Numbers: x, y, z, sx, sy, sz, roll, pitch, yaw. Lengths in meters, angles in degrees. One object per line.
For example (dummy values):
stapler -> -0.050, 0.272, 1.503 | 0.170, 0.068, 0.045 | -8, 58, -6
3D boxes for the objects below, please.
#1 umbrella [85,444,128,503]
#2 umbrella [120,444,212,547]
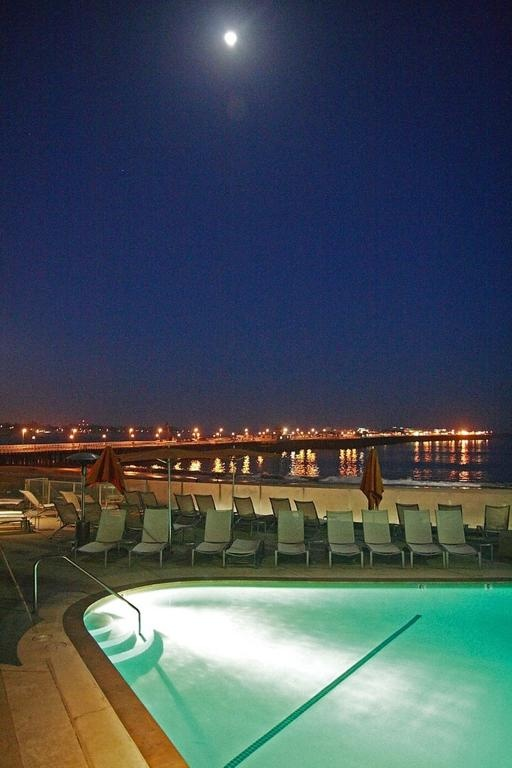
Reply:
umbrella -> -2.526, 1.448, 10.431 | 0.690, 0.776, 0.590 | 3, -7, -34
umbrella -> -1.732, 2.206, 12.113 | 1.445, 1.745, 1.671 | 1, -6, 4
